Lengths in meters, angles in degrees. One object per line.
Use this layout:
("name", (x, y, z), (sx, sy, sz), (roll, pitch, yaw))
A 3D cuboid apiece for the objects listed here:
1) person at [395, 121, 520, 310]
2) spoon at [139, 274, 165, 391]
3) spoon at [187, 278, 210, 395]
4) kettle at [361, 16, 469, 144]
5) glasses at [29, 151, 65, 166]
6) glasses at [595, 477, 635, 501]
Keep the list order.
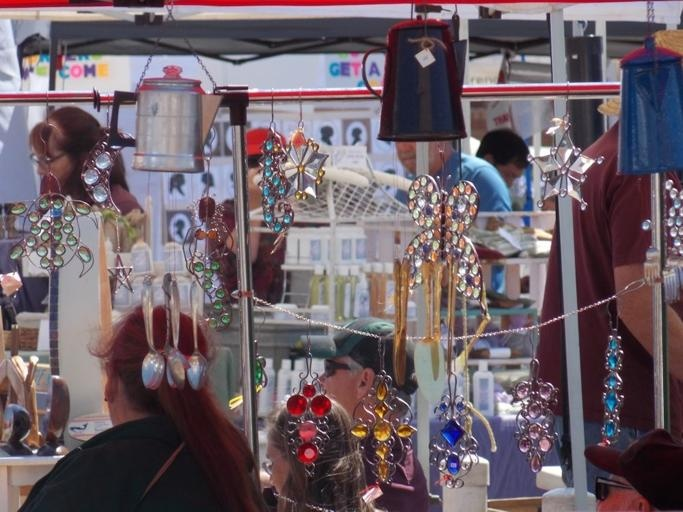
("person", (0.434, -0.127, 8.513), (0.611, 0.792, 0.405), (3, 9, 17))
("spoon", (-0.660, 0.261, 7.615), (0.052, 0.371, 0.075), (-9, 9, -38))
("spoon", (-0.499, 0.268, 7.671), (0.058, 0.363, 0.073), (-4, 12, -27))
("kettle", (0.280, -0.602, 7.680), (0.379, 0.442, 0.325), (-1, 0, -14))
("glasses", (-1.165, -0.380, 8.724), (0.102, 0.035, 0.105), (-2, 5, -26))
("glasses", (0.958, 0.800, 7.718), (0.109, 0.060, 0.063), (-5, 11, 36))
